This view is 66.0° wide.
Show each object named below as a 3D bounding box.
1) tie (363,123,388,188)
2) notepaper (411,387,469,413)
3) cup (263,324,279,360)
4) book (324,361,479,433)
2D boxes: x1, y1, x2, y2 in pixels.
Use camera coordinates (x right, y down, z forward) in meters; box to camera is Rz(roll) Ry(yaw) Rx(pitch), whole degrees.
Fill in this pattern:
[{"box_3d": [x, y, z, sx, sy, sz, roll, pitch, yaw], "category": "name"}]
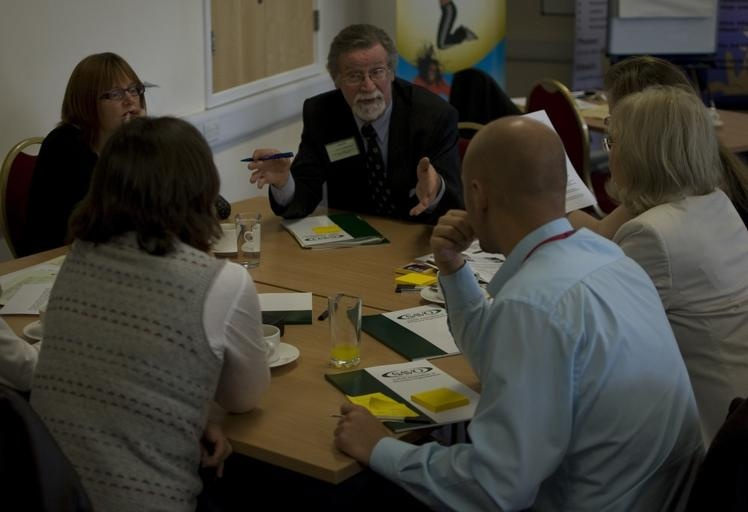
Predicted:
[{"box_3d": [0.002, -0.507, 3.049, 0.080, 0.419, 0.100, -10, 8, 14], "category": "tie"}, {"box_3d": [0.178, 0.388, 1.569, 0.075, 0.019, 0.070, -9, 15, -33], "category": "notepaper"}, {"box_3d": [-0.310, 0.256, 1.735, 0.055, 0.066, 0.092, -3, 18, -20], "category": "cup"}, {"box_3d": [0.067, 0.369, 1.646, 0.192, 0.013, 0.276, -9, 18, -20], "category": "book"}]
